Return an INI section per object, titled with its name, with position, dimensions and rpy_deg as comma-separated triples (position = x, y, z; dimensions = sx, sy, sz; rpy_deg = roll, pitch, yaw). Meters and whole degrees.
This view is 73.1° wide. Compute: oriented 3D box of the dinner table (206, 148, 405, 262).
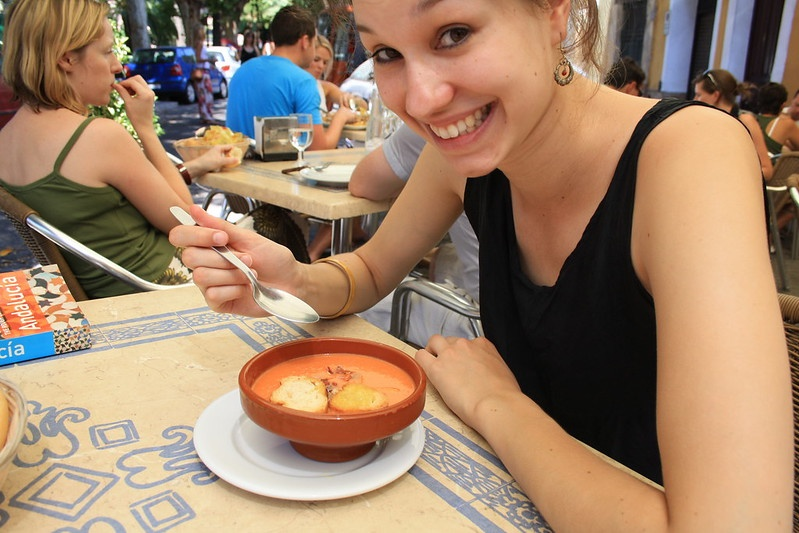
[dinner table]
position = -0.443, -0.527, 2.651
dimensions = 0.704, 0.470, 0.739
rpy_deg = -14, 27, -34

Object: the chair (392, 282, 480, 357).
[chair]
position = 0.127, 0.184, 1.877
dimensions = 0.181, 0.263, 0.194
rpy_deg = -21, 31, -35

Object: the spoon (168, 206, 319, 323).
[spoon]
position = -0.489, -0.012, 1.680
dimensions = 0.654, 0.068, 0.123
rpy_deg = 42, 47, 8

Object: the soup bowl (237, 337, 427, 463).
[soup bowl]
position = -0.118, 0.241, 1.034
dimensions = 0.253, 0.103, 0.258
rpy_deg = 5, 21, -2

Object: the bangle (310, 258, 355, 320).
[bangle]
position = -0.187, 0.075, 1.652
dimensions = 0.155, 0.155, 0.040
rpy_deg = 26, -17, -37
